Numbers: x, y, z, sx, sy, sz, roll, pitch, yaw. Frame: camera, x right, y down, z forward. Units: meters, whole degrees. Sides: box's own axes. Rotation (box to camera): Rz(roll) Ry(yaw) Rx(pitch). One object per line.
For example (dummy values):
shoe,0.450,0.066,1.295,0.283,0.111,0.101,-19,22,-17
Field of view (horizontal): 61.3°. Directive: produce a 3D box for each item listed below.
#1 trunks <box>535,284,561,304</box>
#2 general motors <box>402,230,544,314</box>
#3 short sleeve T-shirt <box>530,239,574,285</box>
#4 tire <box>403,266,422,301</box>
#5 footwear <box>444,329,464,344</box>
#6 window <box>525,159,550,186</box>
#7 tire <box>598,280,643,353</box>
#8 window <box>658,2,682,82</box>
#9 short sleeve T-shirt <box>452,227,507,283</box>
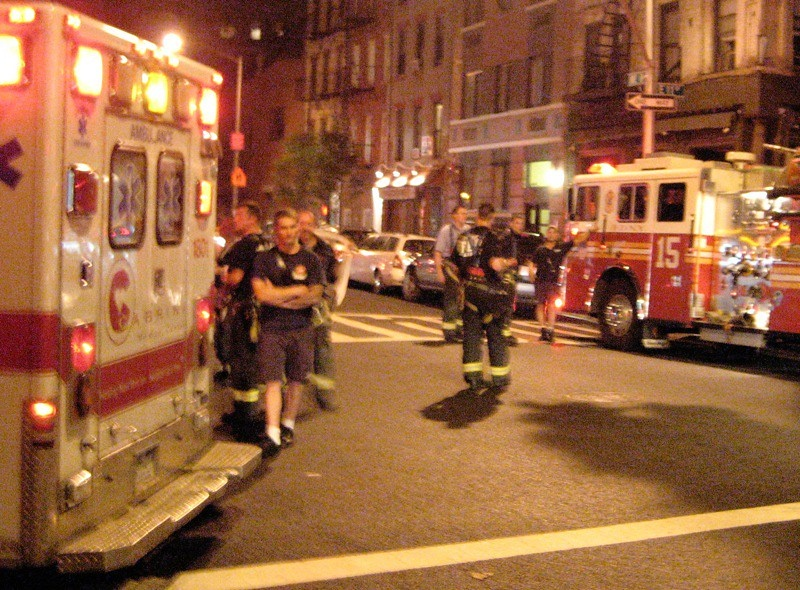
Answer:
trunks,2.956,-0.058,13.720,0.545,0.542,0.328,3,11,10
general motors,1.764,-0.639,18.856,1.855,1.784,4.033,-4,10,-31
short sleeve T-shirt,3.108,-0.657,13.831,0.882,1.064,0.452,11,-4,-12
tire,0.371,-0.329,19.573,0.344,1.087,0.983,-2,2,-27
footwear,1.004,0.770,12.637,0.352,0.316,0.270,3,2,6
window,6.208,-5.499,30.401,0.746,1.357,1.381,-1,2,-10
tire,4.380,0.445,13.341,0.462,1.577,1.380,-1,1,-34
window,9.875,-9.284,24.857,0.424,3.014,1.233,1,5,-15
short sleeve T-shirt,1.063,-0.520,8.982,0.386,0.635,0.783,2,2,-35
